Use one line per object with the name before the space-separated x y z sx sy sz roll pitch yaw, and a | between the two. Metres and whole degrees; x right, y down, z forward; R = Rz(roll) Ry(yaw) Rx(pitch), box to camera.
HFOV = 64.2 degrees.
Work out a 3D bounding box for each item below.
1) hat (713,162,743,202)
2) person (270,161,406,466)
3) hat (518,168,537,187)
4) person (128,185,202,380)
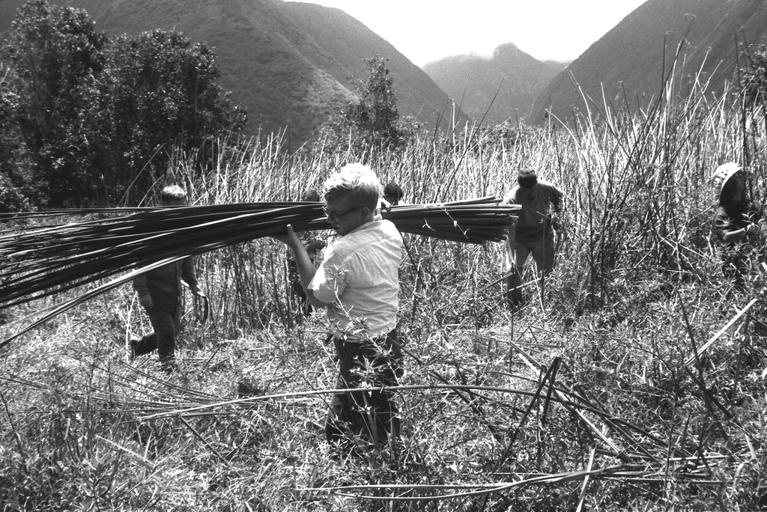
hat | 2.762 -0.579 4.813 0.210 0.292 0.262 4 9 2
person | -0.183 0.280 3.300 0.694 1.421 1.161 0 17 -8
hat | 1.375 -0.741 5.847 0.141 0.178 0.182 -4 23 12
person | -1.718 0.206 4.876 0.559 1.402 1.454 -3 18 -19
